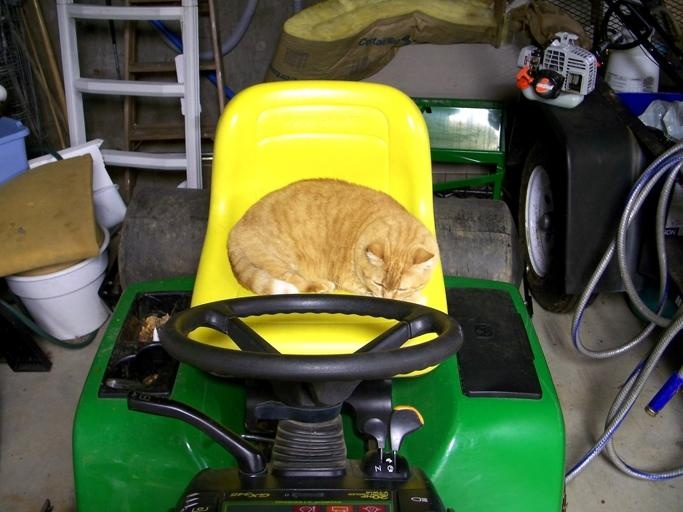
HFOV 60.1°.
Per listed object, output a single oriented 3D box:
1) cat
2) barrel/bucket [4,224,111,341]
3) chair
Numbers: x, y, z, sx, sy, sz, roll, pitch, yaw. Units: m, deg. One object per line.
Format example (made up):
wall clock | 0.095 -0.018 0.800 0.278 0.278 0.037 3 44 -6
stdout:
cat | -0.039 -0.017 1.896 0.531 0.227 0.386 5 58 -5
barrel/bucket | -1.136 0.144 2.661 0.444 0.444 0.460 2 47 -2
chair | -0.077 -0.103 2.222 0.914 0.985 0.619 0 74 -12
